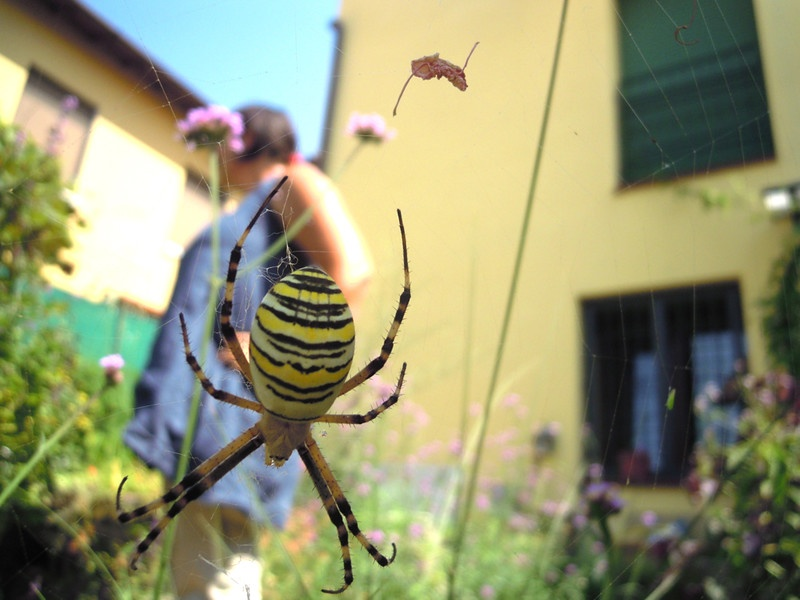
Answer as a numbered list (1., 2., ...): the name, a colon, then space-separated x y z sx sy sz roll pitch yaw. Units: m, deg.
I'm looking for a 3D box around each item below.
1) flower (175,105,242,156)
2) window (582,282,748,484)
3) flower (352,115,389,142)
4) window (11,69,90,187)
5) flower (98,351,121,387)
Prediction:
1. flower: -1.043 -0.954 3.989 0.296 0.236 0.340 0 12 0
2. window: 1.483 0.458 4.133 0.052 1.452 0.928 -9 12 -43
3. flower: -0.177 -0.937 3.993 0.136 0.091 0.140 8 7 29
4. window: -1.745 -0.873 3.641 0.045 0.501 0.389 -7 -33 44
5. flower: -1.504 0.365 3.852 0.126 0.179 0.132 1 -1 -34
